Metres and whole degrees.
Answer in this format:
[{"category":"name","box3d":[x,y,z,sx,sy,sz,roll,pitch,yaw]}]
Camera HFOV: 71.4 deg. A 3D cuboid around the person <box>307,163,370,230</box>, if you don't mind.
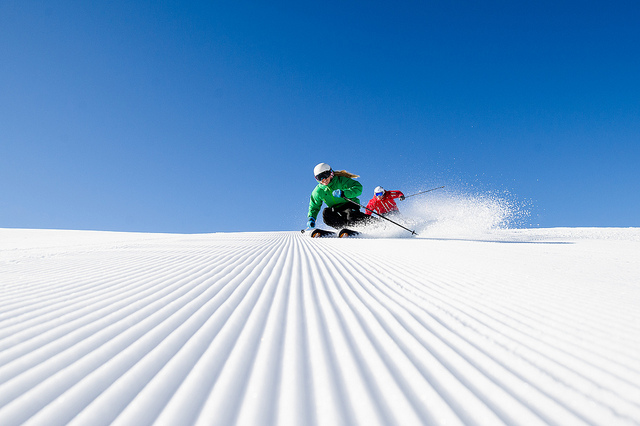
[{"category":"person","box3d":[0.469,-0.312,10.574,0.925,1.337,0.877,-27,8,43]}]
